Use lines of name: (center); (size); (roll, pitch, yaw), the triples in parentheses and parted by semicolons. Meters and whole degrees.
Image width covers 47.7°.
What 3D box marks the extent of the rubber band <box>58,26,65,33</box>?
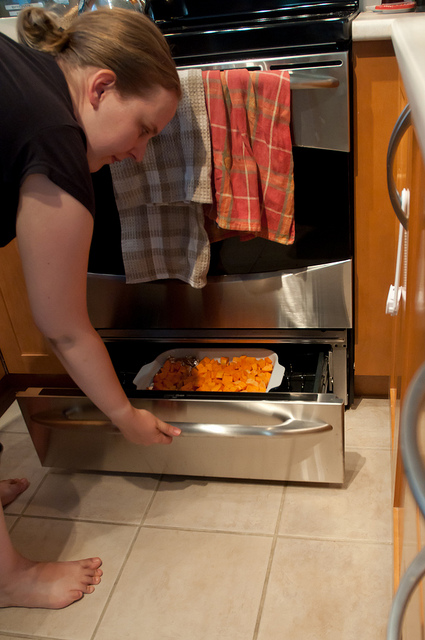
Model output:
rubber band: (-0.222, -0.427, 0.707); (0.003, 0.011, 0.011); (-38, 14, 43)

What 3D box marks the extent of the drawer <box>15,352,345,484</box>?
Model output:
drawer: (-0.044, 0.117, 1.486); (0.832, 0.273, 0.641); (0, 25, 3)
